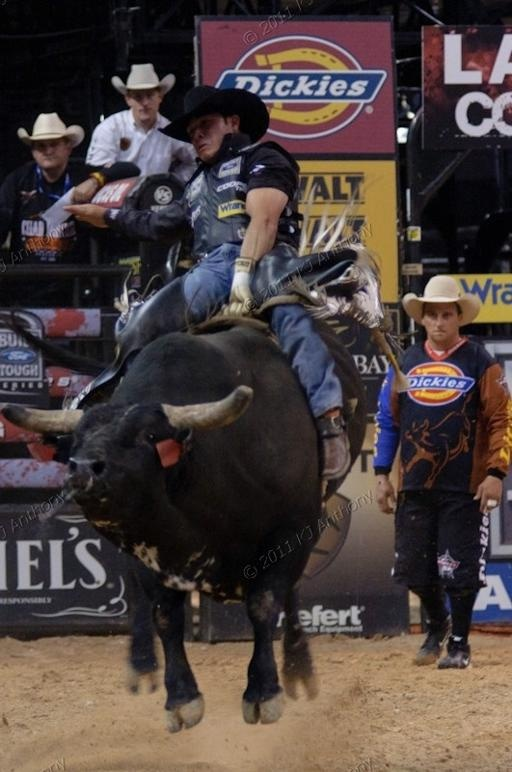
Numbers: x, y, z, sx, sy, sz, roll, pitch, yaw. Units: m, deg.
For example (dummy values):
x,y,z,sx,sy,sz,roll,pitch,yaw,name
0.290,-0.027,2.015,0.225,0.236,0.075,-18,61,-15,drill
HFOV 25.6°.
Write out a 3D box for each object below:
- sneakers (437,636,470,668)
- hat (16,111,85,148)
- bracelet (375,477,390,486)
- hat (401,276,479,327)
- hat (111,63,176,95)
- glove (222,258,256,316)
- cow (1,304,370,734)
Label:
x,y,z,sx,sy,sz,roll,pitch,yaw,name
1.025,1.382,5.840,0.129,0.170,0.122,2,3,23,sneakers
-1.319,-1.764,7.645,0.417,0.156,0.431,-5,-7,0,hat
0.674,0.504,5.982,0.031,0.041,0.086,-13,-31,20,bracelet
0.972,-0.459,5.998,0.411,0.154,0.386,13,-19,-10,hat
-0.749,-2.178,7.995,0.462,0.164,0.446,-4,-11,-2,hat
-0.060,-0.408,4.694,0.114,0.203,0.160,6,13,-14,glove
-0.228,0.557,4.225,0.802,1.634,1.533,2,3,21,cow
